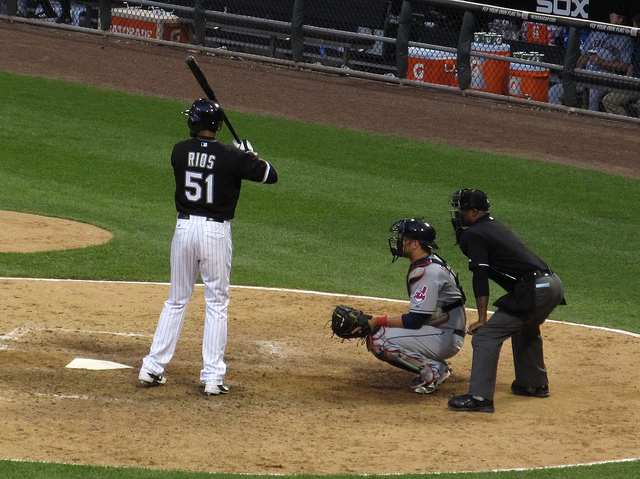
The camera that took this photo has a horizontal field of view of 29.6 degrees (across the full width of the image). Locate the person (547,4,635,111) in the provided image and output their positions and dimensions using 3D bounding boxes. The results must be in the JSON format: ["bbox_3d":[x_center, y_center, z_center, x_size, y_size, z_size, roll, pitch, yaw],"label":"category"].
[{"bbox_3d":[4.258,-2.819,18.726,1.094,1.652,0.751,11,12,23],"label":"person"}]

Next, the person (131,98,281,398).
[{"bbox_3d":[-1.164,0.060,11.758,1.312,2.717,1.470,0,2,-11],"label":"person"}]

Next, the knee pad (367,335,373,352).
[{"bbox_3d":[0.486,0.987,11.668,0.024,0.150,0.092,2,12,-25],"label":"knee pad"}]

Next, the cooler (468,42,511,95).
[{"bbox_3d":[2.764,-2.781,19.699,0.842,0.772,0.557,0,26,9],"label":"cooler"}]

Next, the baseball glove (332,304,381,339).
[{"bbox_3d":[0.392,0.768,11.844,0.494,0.209,0.620,-8,12,-38],"label":"baseball glove"}]
